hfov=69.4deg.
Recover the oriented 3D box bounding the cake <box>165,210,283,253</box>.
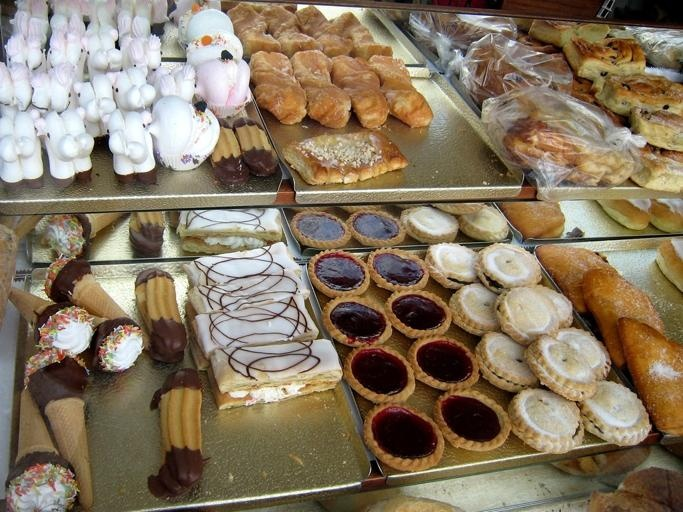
[{"bbox_3d":[-0.447,-0.103,1.990,0.286,0.079,0.250,-4,23,-15],"label":"cake"}]

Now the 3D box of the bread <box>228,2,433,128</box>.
[{"bbox_3d":[-0.078,-0.755,1.986,0.698,0.112,0.771,-2,39,-17],"label":"bread"}]

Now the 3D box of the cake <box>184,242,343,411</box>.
[{"bbox_3d":[-0.284,0.262,1.720,0.580,0.341,0.617,-9,26,-25],"label":"cake"}]

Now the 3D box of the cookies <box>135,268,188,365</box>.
[{"bbox_3d":[-0.627,0.171,1.704,0.165,0.118,0.365,-8,49,-26],"label":"cookies"}]

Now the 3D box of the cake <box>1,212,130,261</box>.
[{"bbox_3d":[-1.013,-0.066,1.779,0.190,0.211,0.105,0,88,-10],"label":"cake"}]

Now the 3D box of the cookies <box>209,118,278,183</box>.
[{"bbox_3d":[-0.293,-0.306,1.420,0.183,0.067,0.208,-14,57,-20],"label":"cookies"}]

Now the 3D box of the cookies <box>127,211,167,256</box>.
[{"bbox_3d":[-0.789,-0.129,1.976,0.105,0.109,0.275,-40,47,-14],"label":"cookies"}]
